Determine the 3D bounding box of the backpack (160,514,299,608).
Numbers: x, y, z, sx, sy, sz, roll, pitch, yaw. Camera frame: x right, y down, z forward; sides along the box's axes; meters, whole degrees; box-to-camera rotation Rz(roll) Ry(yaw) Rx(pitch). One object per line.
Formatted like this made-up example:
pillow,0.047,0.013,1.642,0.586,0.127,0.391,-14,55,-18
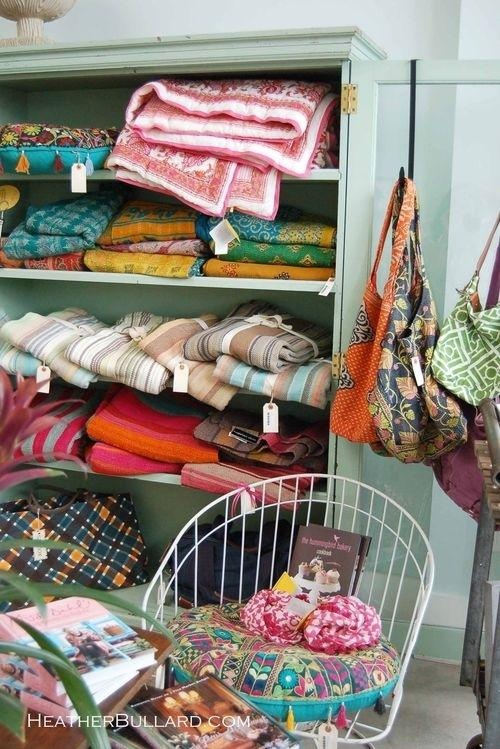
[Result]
backpack,-0.066,0.586,1.804,0.296,0.183,0.409,4,6,24

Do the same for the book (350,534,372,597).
book,0.276,0.476,1.465,0.026,0.109,0.108,9,6,7

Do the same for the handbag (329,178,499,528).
handbag,0.437,-0.068,1.500,0.411,0.868,0.327,7,17,11
